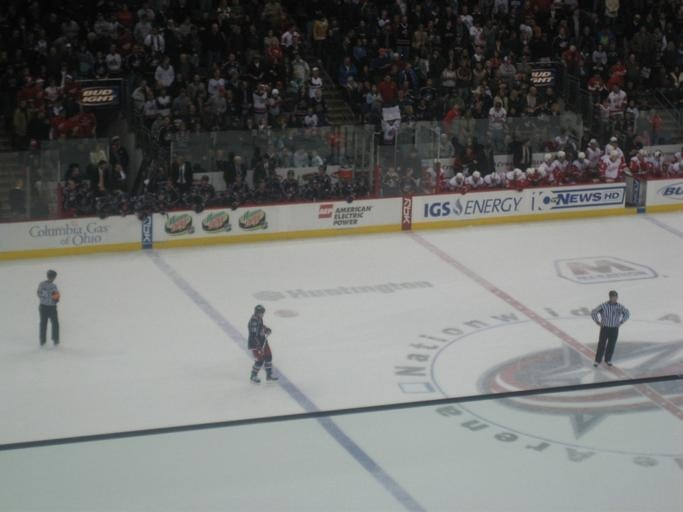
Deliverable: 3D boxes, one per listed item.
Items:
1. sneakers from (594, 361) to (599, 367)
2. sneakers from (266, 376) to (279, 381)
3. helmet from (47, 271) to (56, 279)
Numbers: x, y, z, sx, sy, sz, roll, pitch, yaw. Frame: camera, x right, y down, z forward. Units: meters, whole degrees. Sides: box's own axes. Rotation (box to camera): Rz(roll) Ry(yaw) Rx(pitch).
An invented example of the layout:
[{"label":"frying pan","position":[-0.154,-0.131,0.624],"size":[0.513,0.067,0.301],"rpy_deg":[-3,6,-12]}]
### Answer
[{"label":"sneakers","position":[4.323,1.823,13.462],"size":[0.098,0.072,0.182],"rpy_deg":[-1,2,10]},{"label":"sneakers","position":[-1.115,1.971,12.855],"size":[0.183,0.132,0.066],"rpy_deg":[-1,9,-10]},{"label":"helmet","position":[-4.964,0.312,13.603],"size":[0.149,0.127,0.161],"rpy_deg":[0,-5,3]}]
